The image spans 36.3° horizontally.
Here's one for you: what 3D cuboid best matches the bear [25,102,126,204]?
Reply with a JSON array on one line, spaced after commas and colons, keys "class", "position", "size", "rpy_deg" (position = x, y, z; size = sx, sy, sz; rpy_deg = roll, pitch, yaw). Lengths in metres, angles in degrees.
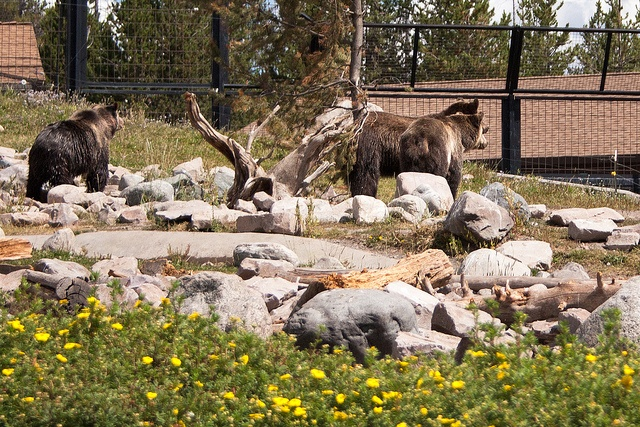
[{"class": "bear", "position": [-6.353, -1.657, 25.749], "size": [1.342, 2.247, 3.072], "rpy_deg": [9, 16, 24]}]
